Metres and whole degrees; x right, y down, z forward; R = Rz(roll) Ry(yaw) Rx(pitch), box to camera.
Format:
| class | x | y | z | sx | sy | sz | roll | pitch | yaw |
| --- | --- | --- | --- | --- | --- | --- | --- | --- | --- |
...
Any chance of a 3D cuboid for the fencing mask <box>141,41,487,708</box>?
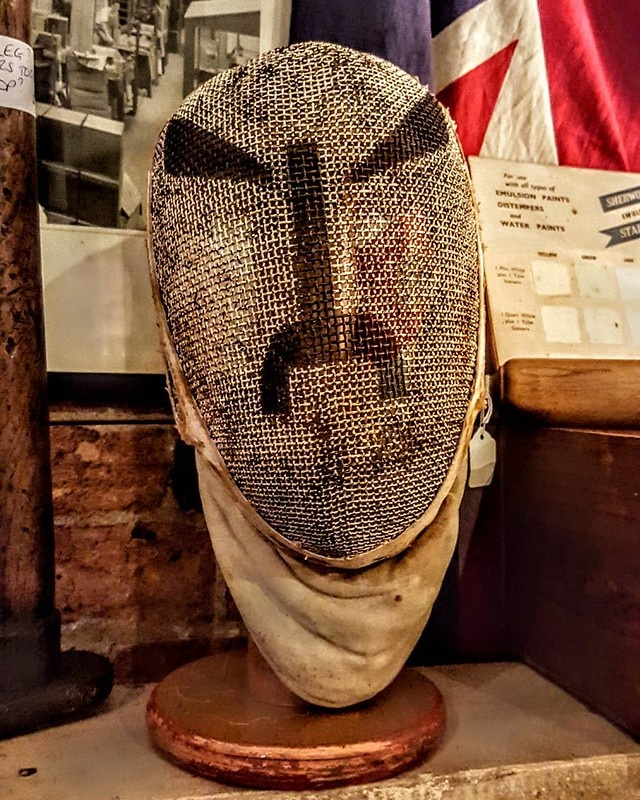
| class | x | y | z | sx | sy | sz | roll | pitch | yaw |
| --- | --- | --- | --- | --- | --- | --- | --- | --- | --- |
| fencing mask | 0.004 | -0.047 | 0.982 | 0.414 | 0.660 | 0.213 | -4 | 7 | 2 |
